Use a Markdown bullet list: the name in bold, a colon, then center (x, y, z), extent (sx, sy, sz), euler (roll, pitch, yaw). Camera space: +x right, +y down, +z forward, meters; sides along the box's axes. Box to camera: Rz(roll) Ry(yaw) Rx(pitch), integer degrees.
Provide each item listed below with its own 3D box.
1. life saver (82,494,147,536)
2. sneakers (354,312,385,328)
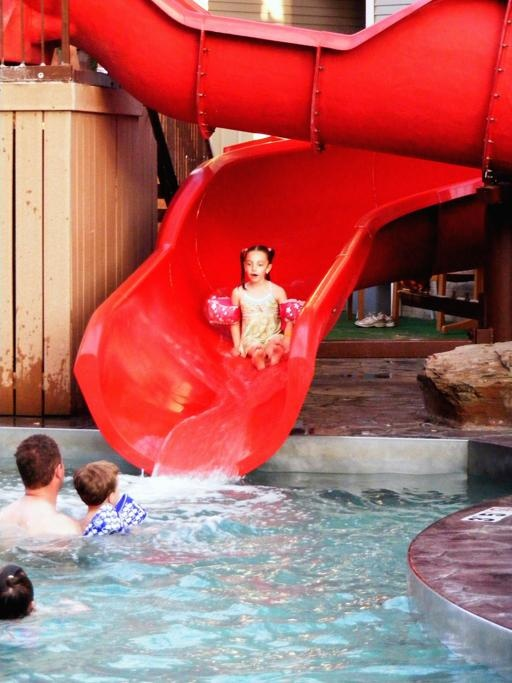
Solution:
- **life saver**: center (-0.442, 0.578, 2.146), extent (0.220, 0.066, 0.212), euler (-6, -19, -11)
- **sneakers**: center (1.379, -0.262, 8.095), extent (0.393, 0.161, 0.147), euler (0, 5, -9)
